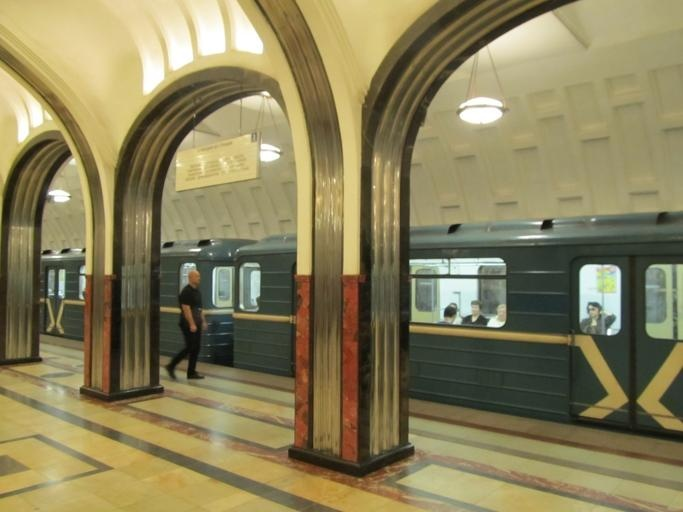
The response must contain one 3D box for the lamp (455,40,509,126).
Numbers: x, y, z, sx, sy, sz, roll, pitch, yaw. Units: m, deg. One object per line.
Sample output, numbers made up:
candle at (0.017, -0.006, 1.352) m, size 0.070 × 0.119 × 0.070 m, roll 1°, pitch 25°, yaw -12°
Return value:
lamp at (2.431, -3.146, 8.944) m, size 0.799 × 1.690 × 0.769 m, roll 7°, pitch -11°, yaw -15°
